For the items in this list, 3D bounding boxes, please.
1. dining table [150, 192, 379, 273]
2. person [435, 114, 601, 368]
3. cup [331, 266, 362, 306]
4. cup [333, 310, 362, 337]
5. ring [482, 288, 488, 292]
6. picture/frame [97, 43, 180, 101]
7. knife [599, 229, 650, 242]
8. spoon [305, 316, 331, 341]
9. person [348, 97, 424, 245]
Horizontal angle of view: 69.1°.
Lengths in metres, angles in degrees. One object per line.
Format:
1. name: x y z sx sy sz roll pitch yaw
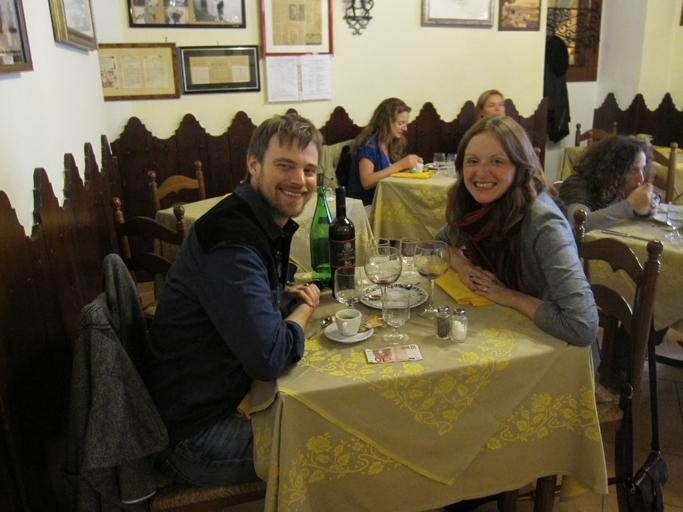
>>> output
1. dining table: -0.308 -0.091 2.027 0.421 0.212 0.424 4 16 11
2. person: 0.654 -0.166 1.996 0.456 0.685 1.076 -8 25 -19
3. cup: 0.017 0.106 1.743 0.099 0.166 0.101 -5 17 1
4. cup: 0.019 0.211 1.610 0.062 0.057 0.092 2 18 10
5. ring: 0.531 0.123 1.833 0.014 0.003 0.013 -33 34 26
6. picture/frame: -1.630 -1.459 3.891 0.602 0.420 0.059 -4 13 -18
7. knife: 1.337 -0.094 2.340 0.044 0.011 0.257 -17 20 -25
8. spoon: -0.082 0.236 1.688 0.033 0.024 0.167 27 22 11
9. person: 0.389 -0.831 4.277 0.646 0.977 0.536 8 22 5
